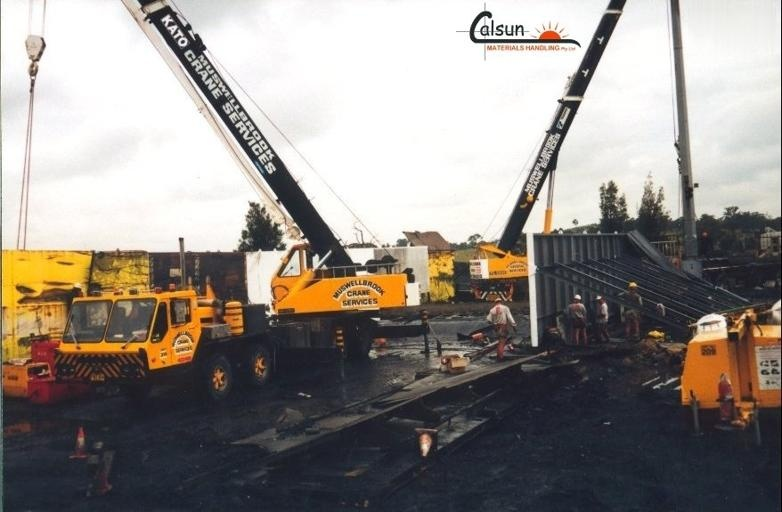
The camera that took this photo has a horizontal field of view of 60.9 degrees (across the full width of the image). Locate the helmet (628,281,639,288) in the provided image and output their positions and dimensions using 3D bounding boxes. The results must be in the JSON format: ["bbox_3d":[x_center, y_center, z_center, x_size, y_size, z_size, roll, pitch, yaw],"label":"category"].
[{"bbox_3d":[7.819,0.951,21.533,0.314,0.225,0.388,0,4,0],"label":"helmet"}]

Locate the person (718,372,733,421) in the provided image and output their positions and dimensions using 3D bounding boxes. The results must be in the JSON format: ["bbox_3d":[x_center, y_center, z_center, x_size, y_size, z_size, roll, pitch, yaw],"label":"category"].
[{"bbox_3d":[7.322,3.067,14.533,0.352,0.957,0.254,4,13,25],"label":"person"}]

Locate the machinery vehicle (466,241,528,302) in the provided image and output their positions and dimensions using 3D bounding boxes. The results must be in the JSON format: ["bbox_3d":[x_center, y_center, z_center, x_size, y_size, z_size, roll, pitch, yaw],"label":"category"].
[{"bbox_3d":[6.389,0.912,37.846,4.190,2.789,2.400,-4,-9,-45],"label":"machinery vehicle"}]

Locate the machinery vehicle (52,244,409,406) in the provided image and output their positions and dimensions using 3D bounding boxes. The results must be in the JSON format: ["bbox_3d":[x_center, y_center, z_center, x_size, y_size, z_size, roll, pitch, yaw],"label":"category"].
[{"bbox_3d":[-4.142,1.783,21.811,3.862,4.493,11.790,-7,-2,33],"label":"machinery vehicle"}]

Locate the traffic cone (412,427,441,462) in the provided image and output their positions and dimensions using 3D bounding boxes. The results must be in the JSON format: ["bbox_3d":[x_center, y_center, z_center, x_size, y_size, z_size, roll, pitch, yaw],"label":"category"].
[{"bbox_3d":[0.772,4.180,14.802,0.487,0.526,0.467,0,12,10],"label":"traffic cone"}]

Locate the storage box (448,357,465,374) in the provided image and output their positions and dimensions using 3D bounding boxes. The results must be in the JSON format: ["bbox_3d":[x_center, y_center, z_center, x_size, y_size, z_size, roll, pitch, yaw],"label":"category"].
[{"bbox_3d":[1.794,2.963,18.247,0.499,0.383,0.363,1,-2,-35],"label":"storage box"}]
